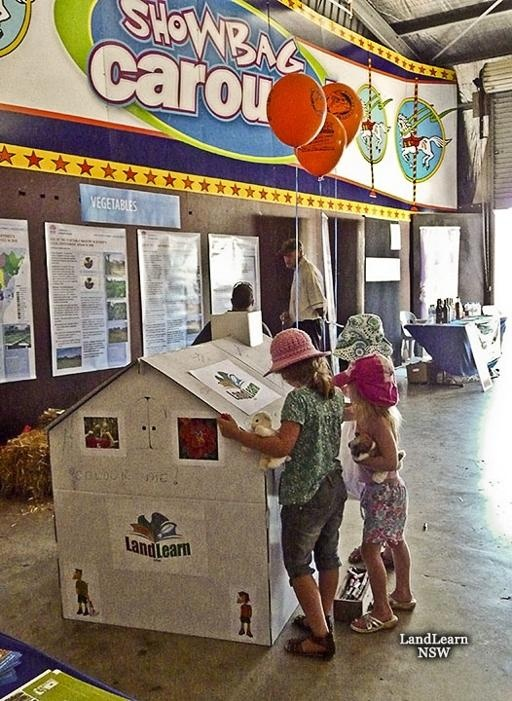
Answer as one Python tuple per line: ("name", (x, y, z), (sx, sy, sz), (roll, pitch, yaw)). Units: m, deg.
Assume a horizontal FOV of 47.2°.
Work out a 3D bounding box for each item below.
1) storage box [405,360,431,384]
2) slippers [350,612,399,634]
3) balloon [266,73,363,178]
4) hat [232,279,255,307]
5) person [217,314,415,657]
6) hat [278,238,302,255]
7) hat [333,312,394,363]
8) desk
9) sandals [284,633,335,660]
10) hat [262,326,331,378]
("storage box", (2.207, 0.309, 7.914), (0.317, 0.299, 0.313), (-1, -1, 15))
("slippers", (0.459, 1.052, 2.257), (0.132, 0.042, 0.072), (1, 0, -2))
("balloon", (0.434, -1.832, 4.559), (0.395, 0.818, 1.109), (1, 5, 24))
("hat", (-0.090, -0.376, 4.072), (0.199, 0.235, 0.232), (3, 15, 2))
("person", (0.282, 0.508, 2.194), (0.801, 1.176, 0.363), (-6, 6, -42))
("hat", (0.368, -1.099, 6.187), (0.215, 0.122, 0.158), (9, 19, 40))
("hat", (0.610, -0.072, 3.356), (0.375, 0.284, 0.231), (-4, 11, 8))
("desk", (2.722, 0.010, 7.916), (0.937, 0.884, 1.312), (1, 5, 30))
("sandals", (0.195, 1.046, 2.104), (0.174, 0.070, 0.081), (5, 4, 6))
("hat", (0.143, -0.018, 2.080), (0.182, 0.092, 0.175), (-21, 4, 4))
